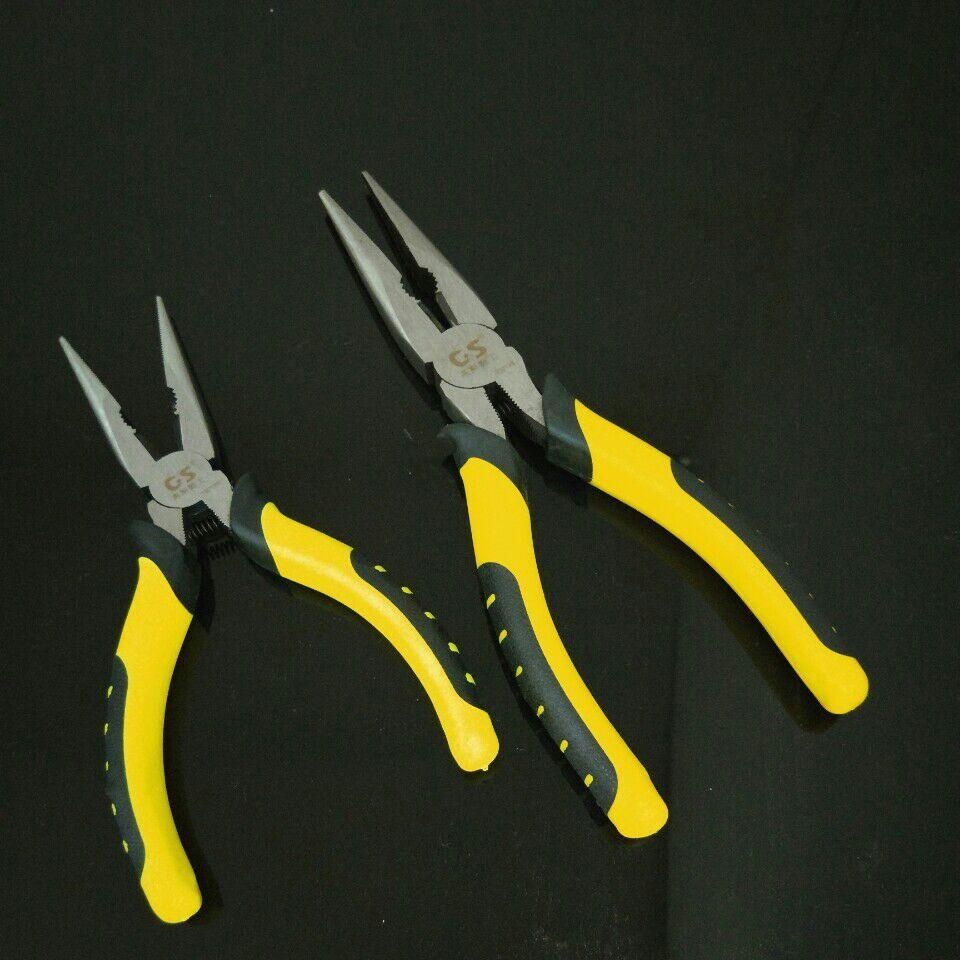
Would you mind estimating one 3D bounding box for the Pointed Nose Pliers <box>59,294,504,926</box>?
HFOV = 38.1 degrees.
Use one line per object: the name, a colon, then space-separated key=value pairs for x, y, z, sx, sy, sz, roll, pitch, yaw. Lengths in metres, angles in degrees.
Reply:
Pointed Nose Pliers: x=-0.263 y=0.104 z=1.459 sx=0.384 sy=0.095 sz=0.760 roll=-14 pitch=48 yaw=-21
